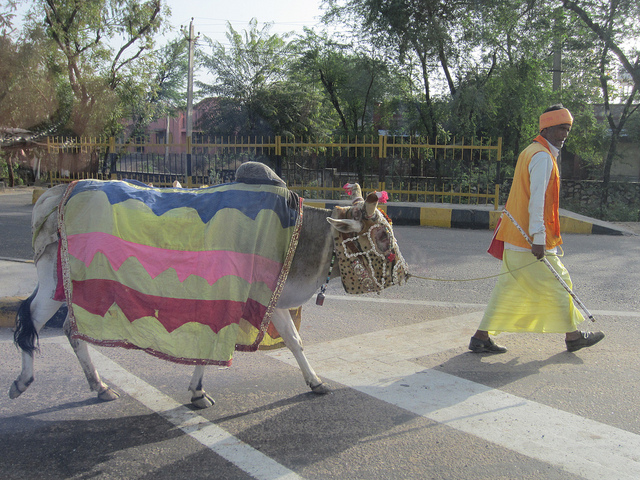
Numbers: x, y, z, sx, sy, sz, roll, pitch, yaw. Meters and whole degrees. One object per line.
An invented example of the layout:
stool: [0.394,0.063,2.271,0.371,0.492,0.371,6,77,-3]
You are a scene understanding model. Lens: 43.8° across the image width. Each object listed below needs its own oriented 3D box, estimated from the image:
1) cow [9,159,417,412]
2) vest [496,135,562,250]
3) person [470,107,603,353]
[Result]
cow: [-1.243,0.453,8.363,3.809,2.514,1.278,0,6,-1]
vest: [2.407,-0.549,9.156,0.731,1.295,0.463,2,7,14]
person: [2.469,-0.101,9.171,1.175,2.817,0.610,2,7,16]
